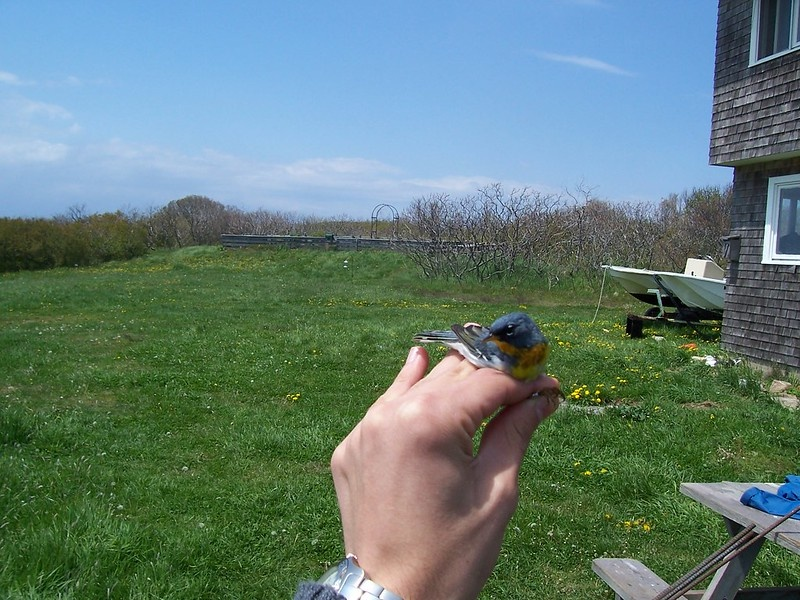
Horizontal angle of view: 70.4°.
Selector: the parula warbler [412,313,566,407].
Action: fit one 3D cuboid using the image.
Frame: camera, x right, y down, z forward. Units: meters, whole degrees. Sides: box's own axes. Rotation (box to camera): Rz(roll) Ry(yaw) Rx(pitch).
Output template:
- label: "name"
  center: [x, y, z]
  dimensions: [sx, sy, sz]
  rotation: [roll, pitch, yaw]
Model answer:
- label: "parula warbler"
  center: [0.443, 0.195, 2.869]
  dimensions: [0.643, 0.331, 0.358]
  rotation: [15, 22, 21]
